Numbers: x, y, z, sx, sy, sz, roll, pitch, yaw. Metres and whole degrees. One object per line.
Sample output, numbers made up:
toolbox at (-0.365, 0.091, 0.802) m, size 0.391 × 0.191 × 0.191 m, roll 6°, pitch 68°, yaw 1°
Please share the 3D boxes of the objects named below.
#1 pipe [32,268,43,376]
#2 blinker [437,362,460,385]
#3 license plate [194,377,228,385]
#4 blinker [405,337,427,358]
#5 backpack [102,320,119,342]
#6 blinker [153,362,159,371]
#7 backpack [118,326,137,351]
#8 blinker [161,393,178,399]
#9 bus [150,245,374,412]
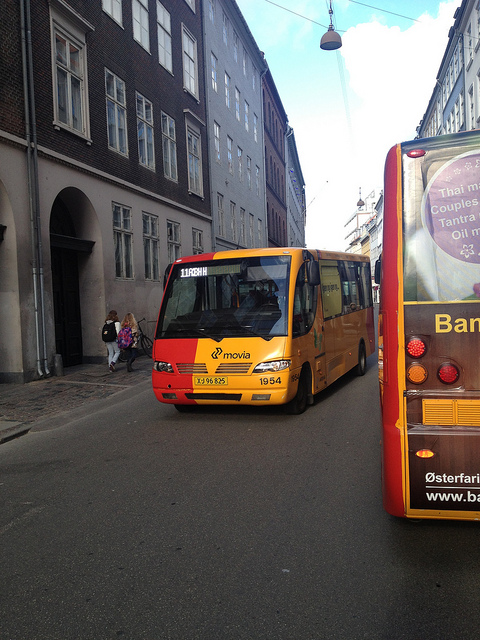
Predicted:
pipe at (-5.303, 0.044, 11.691) m, size 0.286 × 3.377 × 0.341 m, roll 1°, pitch 28°, yaw -21°
blinker at (1.125, 0.287, 2.391) m, size 0.067 × 0.113 × 0.026 m, roll -15°, pitch -10°, yaw 25°
license plate at (-0.446, 0.928, 6.759) m, size 0.543 × 0.132 × 0.019 m, roll -6°, pitch -4°, yaw 21°
blinker at (0.973, 0.151, 2.448) m, size 0.072 × 0.118 × 0.017 m, roll 5°, pitch 3°, yaw 22°
backpack at (-3.803, 0.346, 12.787) m, size 0.300 × 0.651 × 0.479 m, roll -1°, pitch -4°, yaw 21°
blinker at (-1.367, 0.754, 7.231) m, size 0.061 × 0.126 × 0.091 m, roll -3°, pitch -2°, yaw 2°
backpack at (-3.249, 0.515, 12.898) m, size 0.484 × 1.088 × 0.484 m, roll 1°, pitch -4°, yaw 7°
blinker at (-1.124, 1.204, 7.054) m, size 0.095 × 0.080 × 0.165 m, roll -3°, pitch -6°, yaw 13°
bus at (0.748, 0.227, 8.934) m, size 2.106 × 2.733 × 5.107 m, roll -2°, pitch -2°, yaw 22°
